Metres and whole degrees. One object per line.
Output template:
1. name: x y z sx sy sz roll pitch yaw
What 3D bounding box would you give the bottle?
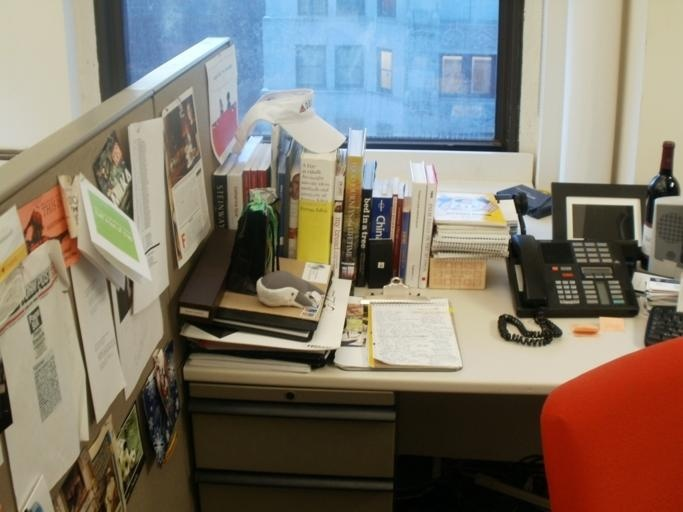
1. bottle: 0.918 -0.142 1.593 0.091 0.358 0.163 9 18 29
